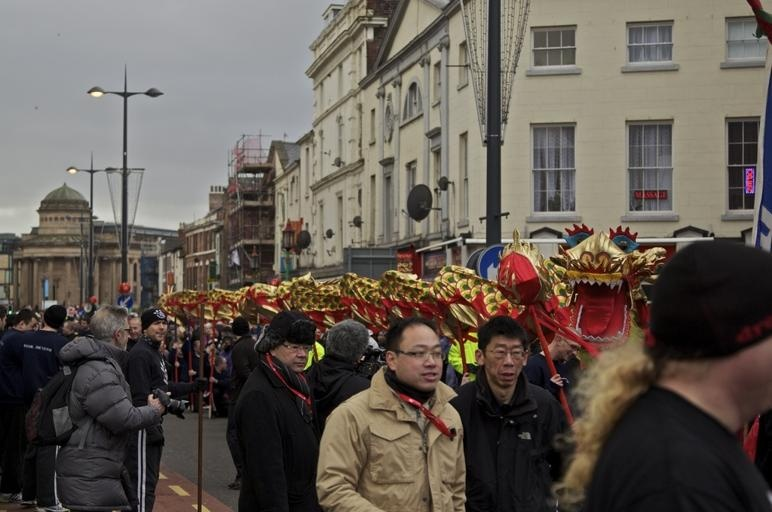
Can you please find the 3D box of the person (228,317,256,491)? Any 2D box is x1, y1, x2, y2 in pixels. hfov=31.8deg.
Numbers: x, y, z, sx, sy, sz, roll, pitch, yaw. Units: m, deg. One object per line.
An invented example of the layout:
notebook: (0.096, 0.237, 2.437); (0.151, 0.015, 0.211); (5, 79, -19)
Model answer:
person: (-2.430, 2.223, 21.229); (0.858, 2.403, 0.796); (-1, -5, -5)

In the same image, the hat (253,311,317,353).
hat: (-1.141, 0.827, 15.072); (0.563, 0.389, 0.459); (7, 5, 12)

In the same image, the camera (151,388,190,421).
camera: (-2.715, 1.849, 16.601); (0.352, 0.248, 0.585); (42, -1, 14)

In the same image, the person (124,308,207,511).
person: (-2.757, 1.934, 17.457); (0.625, 3.827, 1.450); (0, -4, 1)

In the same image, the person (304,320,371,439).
person: (-0.569, 1.304, 15.637); (1.098, 1.400, 0.593); (-6, 3, -25)

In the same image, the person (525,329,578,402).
person: (2.042, 1.382, 16.469); (0.791, 1.043, 0.452); (2, 4, -7)
